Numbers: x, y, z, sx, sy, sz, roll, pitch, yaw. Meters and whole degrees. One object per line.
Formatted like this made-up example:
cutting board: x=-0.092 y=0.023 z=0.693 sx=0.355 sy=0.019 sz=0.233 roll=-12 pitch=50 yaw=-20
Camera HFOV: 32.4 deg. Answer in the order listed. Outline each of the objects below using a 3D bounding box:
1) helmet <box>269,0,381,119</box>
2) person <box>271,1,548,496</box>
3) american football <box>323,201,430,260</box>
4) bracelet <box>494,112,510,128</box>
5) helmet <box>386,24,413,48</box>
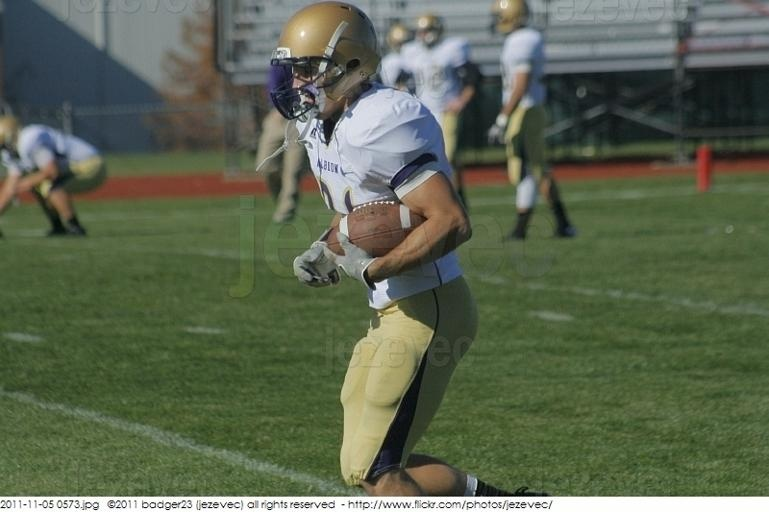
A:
helmet: x=-0.340 y=-1.027 z=6.943 sx=0.642 sy=0.518 sz=0.495 roll=-13 pitch=17 yaw=-8
person: x=-0.014 y=-0.016 z=6.749 sx=1.054 sy=2.476 sz=0.599 roll=7 pitch=11 yaw=37
american football: x=-0.033 y=-0.111 z=6.679 sx=0.510 sy=0.263 sz=0.258 roll=-1 pitch=12 yaw=32
bracelet: x=0.825 y=-0.934 z=9.370 sx=0.083 sy=0.076 sz=0.098 roll=5 pitch=4 yaw=17
helmet: x=0.108 y=-1.649 z=10.127 sx=0.197 sy=0.187 sz=0.188 roll=0 pitch=10 yaw=13
